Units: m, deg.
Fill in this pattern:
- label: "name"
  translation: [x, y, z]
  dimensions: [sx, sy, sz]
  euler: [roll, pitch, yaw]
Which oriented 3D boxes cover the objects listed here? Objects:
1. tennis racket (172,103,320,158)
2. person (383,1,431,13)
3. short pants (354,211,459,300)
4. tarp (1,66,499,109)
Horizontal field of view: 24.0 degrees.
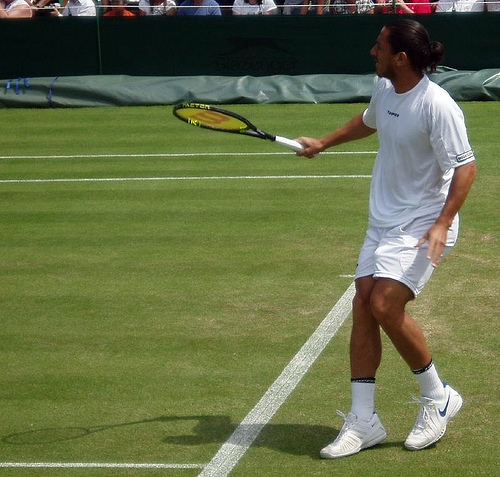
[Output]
- label: "tennis racket"
  translation: [-0.288, -0.856, 8.741]
  dimensions: [1.561, 0.101, 0.349]
  euler: [12, -10, 6]
- label: "person"
  translation: [2.651, -3.911, 19.928]
  dimensions: [0.794, 0.213, 0.848]
  euler: [0, 9, 6]
- label: "short pants"
  translation: [1.035, 0.103, 7.836]
  dimensions: [0.678, 0.575, 0.435]
  euler: [0, 12, 7]
- label: "tarp"
  translation: [-0.285, -2.454, 19.287]
  dimensions: [7.727, 0.617, 1.371]
  euler: [1, 10, 10]
